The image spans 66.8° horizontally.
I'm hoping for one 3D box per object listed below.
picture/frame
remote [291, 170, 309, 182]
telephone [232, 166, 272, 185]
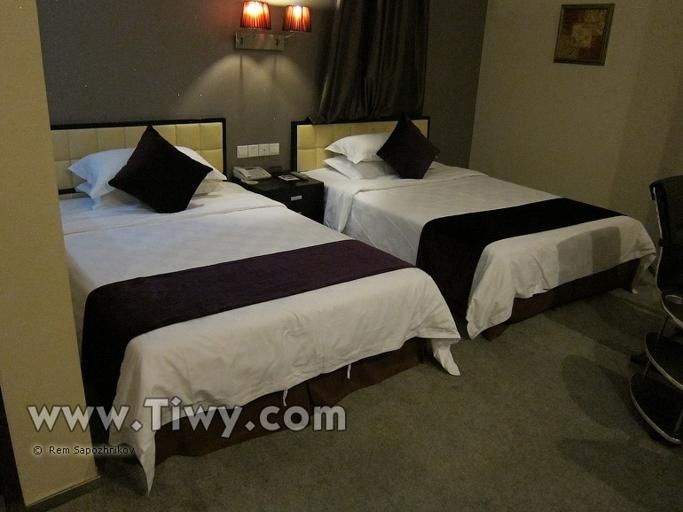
[{"bbox_3d":[2.599,-2.371,5.540,0.066,0.685,0.606,-14,29,-35],"label":"picture/frame"},{"bbox_3d":[-0.418,-0.806,5.210,0.097,0.034,0.187,-10,29,-24],"label":"remote"},{"bbox_3d":[-0.857,-0.787,4.979,0.240,0.095,0.231,-14,29,-29],"label":"telephone"}]
